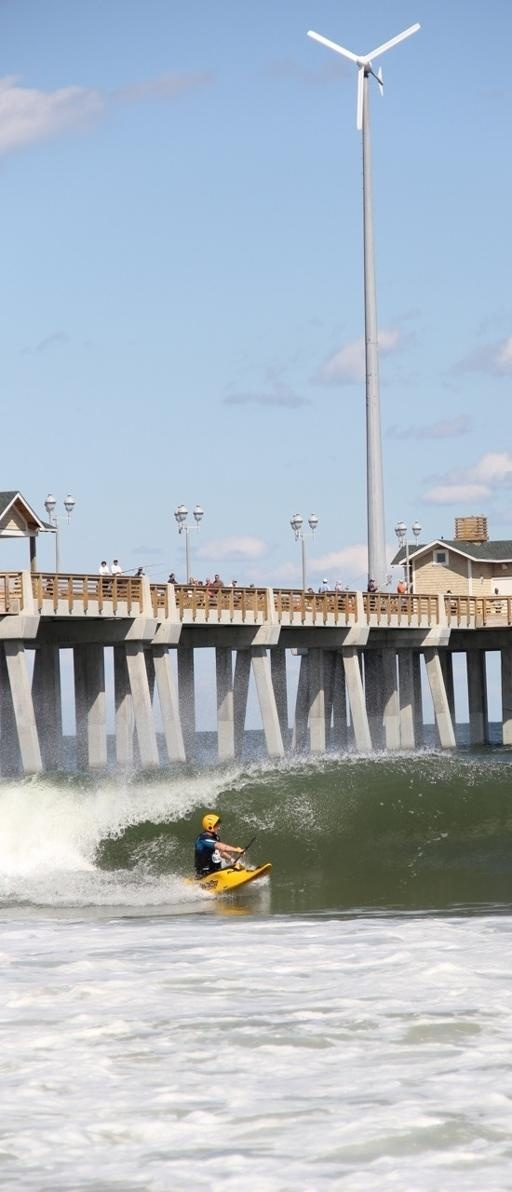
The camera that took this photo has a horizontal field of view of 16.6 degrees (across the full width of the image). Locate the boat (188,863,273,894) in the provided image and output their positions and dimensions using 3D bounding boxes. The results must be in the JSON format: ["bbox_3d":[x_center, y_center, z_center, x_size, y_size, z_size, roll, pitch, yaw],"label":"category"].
[{"bbox_3d":[-0.331,3.429,21.292,0.724,0.272,0.455,-21,-1,5],"label":"boat"}]
